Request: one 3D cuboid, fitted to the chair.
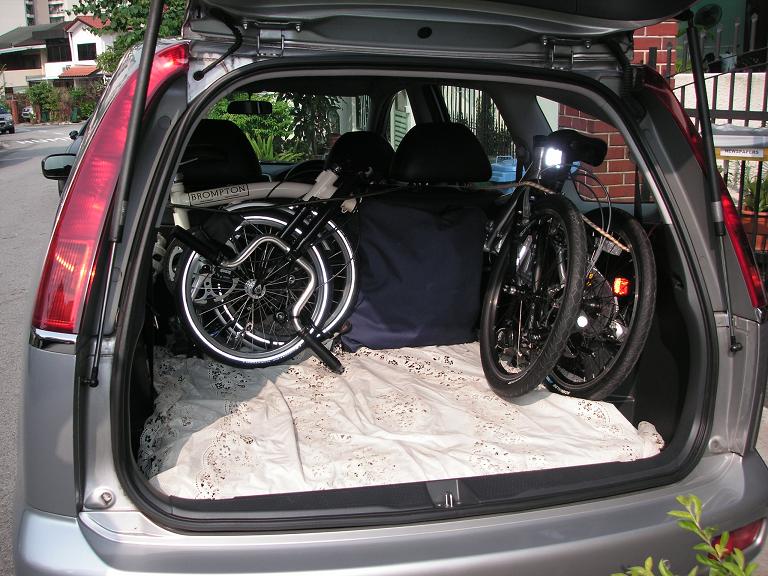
[{"bbox_3d":[-0.096,-0.462,3.108,0.732,1.026,1.658,-4,13,-16],"label":"chair"}]

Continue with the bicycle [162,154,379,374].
[{"bbox_3d":[-0.639,-0.065,2.886,0.917,1.263,0.300,23,18,17],"label":"bicycle"}]

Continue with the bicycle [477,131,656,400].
[{"bbox_3d":[0.769,-0.055,2.471,0.373,1.091,1.069,8,28,-18],"label":"bicycle"}]
